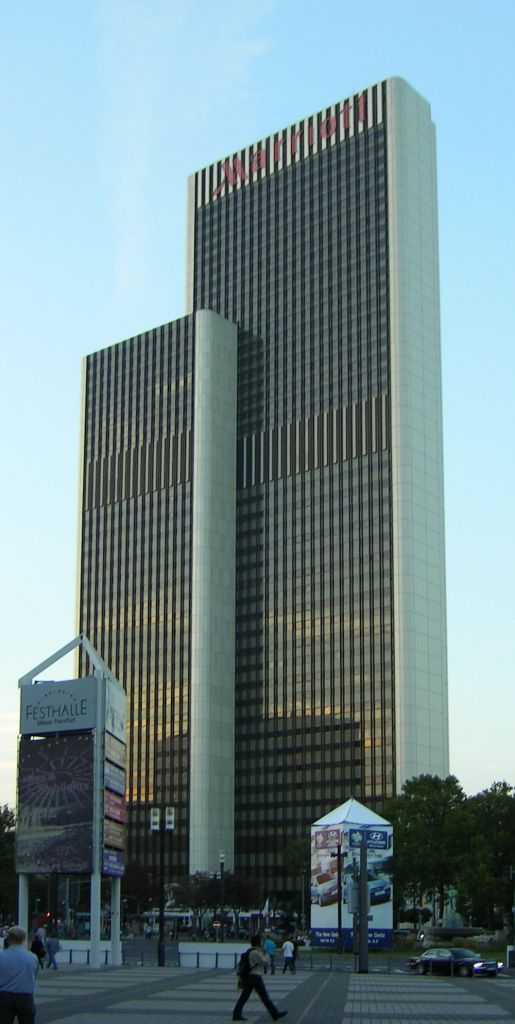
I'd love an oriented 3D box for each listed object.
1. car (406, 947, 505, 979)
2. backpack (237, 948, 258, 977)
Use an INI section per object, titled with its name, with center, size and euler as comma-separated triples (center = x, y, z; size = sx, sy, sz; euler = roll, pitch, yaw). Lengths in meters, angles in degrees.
[car]
center = 8.357, 19.341, 52.585
size = 2.010, 0.925, 4.397
euler = 6, -18, -37
[backpack]
center = -0.198, 9.422, 25.565
size = 0.348, 0.657, 0.854
euler = -2, -13, -1
